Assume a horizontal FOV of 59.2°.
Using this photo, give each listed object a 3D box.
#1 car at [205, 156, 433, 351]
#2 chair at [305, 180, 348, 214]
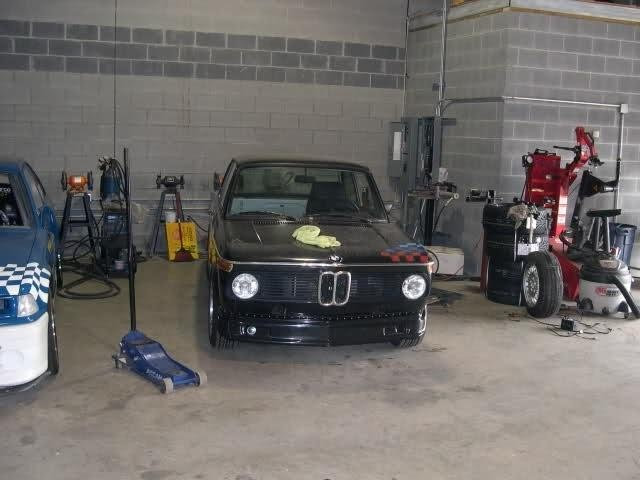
[{"bbox_3d":[-0.018,0.062,5.391,1.439,1.276,2.805,1,6,-7],"label":"car"},{"bbox_3d":[0.081,-0.453,6.235,0.452,0.488,0.353,1,-4,-3],"label":"chair"}]
